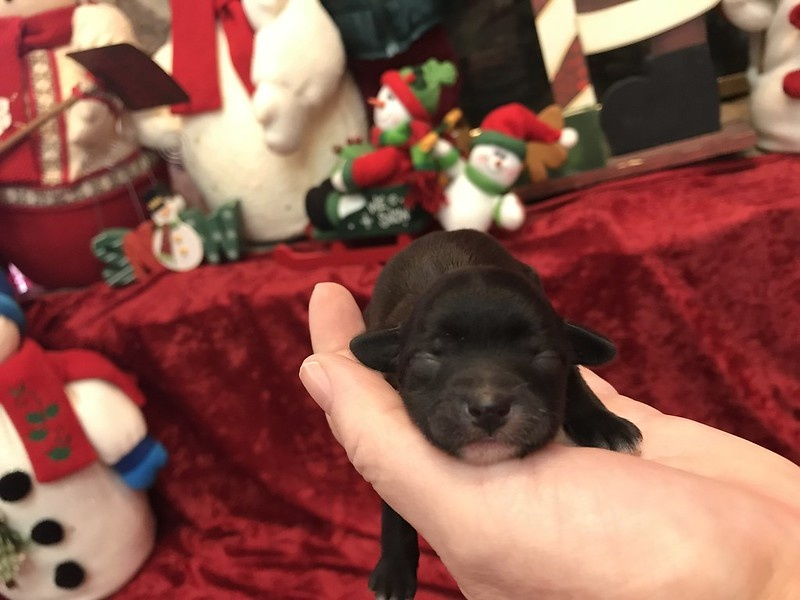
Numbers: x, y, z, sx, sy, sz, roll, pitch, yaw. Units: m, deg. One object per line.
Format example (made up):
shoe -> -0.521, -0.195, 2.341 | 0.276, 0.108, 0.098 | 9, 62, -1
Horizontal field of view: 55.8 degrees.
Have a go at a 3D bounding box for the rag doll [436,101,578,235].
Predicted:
rag doll -> 0.218, -0.275, 1.580 | 0.210, 0.259, 0.128 | 27, 10, 18

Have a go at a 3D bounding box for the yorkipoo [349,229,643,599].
yorkipoo -> 0.163, 0.098, 1.405 | 0.491, 0.411, 0.631 | -10, 33, 4

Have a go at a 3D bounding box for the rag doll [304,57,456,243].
rag doll -> -0.040, -0.320, 1.636 | 0.337, 0.364, 0.237 | -1, 15, 9
